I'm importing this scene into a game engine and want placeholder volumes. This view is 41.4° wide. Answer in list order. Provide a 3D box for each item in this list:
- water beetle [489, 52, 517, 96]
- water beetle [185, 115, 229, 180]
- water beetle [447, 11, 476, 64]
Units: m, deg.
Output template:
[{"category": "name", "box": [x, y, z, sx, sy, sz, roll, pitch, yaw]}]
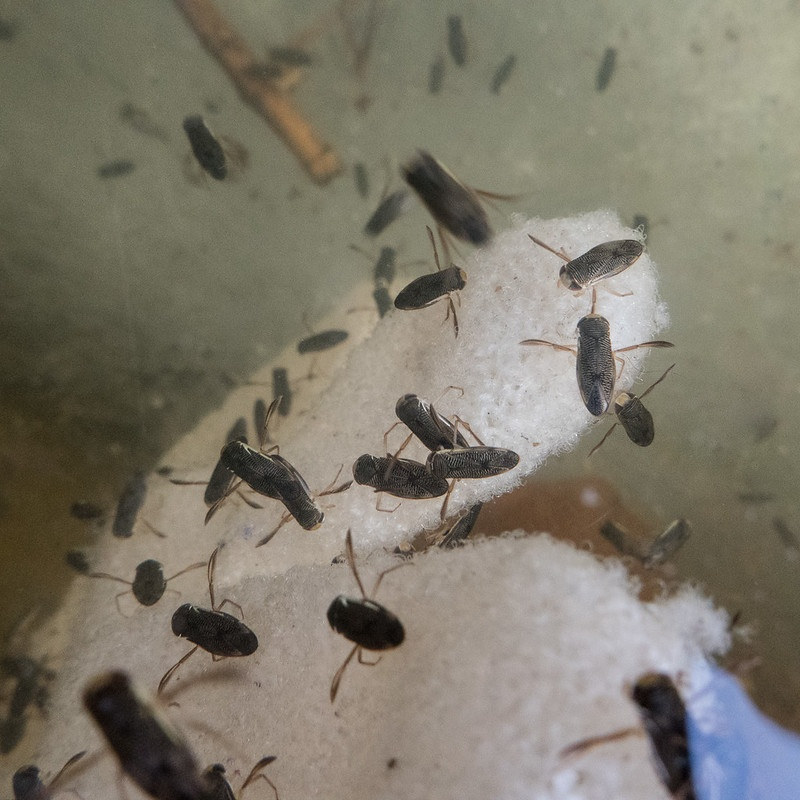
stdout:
[{"category": "water beetle", "box": [0.365, -1.142, 3.725, 0.064, 0.048, 0.140, 29, 111, 5]}, {"category": "water beetle", "box": [-0.677, -0.891, 3.700, 0.136, 0.299, 0.063, 10, 55, 13]}, {"category": "water beetle", "box": [0.200, -1.265, 3.683, 0.066, 0.033, 0.156, -6, 100, -3]}]
